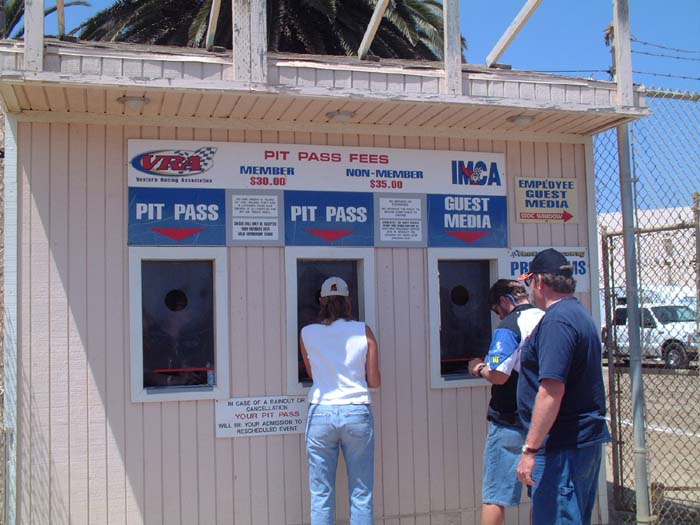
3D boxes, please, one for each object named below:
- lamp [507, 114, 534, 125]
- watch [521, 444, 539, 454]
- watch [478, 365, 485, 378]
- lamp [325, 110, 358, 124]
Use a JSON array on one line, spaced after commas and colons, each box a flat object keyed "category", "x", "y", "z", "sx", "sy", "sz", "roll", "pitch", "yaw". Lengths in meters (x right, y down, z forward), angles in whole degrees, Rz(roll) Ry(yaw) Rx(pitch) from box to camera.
[{"category": "lamp", "x": 1.701, "y": -1.446, "z": 13.805, "sx": 0.276, "sy": 0.091, "sz": 0.288, "roll": -2, "pitch": 0, "yaw": 6}, {"category": "watch", "x": 1.588, "y": 1.646, "z": 12.156, "sx": 0.085, "sy": 0.105, "sz": 0.092, "roll": 13, "pitch": -6, "yaw": 1}, {"category": "watch", "x": 1.235, "y": 1.018, "z": 13.008, "sx": 0.051, "sy": 0.116, "sz": 0.078, "roll": 3, "pitch": -1, "yaw": -2}, {"category": "lamp", "x": -0.081, "y": -1.464, "z": 13.622, "sx": 0.295, "sy": 0.121, "sz": 0.391, "roll": -2, "pitch": 0, "yaw": -2}]
